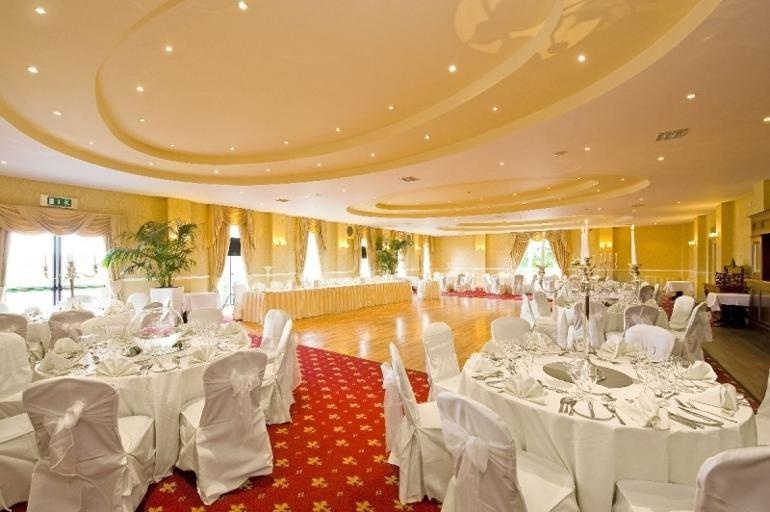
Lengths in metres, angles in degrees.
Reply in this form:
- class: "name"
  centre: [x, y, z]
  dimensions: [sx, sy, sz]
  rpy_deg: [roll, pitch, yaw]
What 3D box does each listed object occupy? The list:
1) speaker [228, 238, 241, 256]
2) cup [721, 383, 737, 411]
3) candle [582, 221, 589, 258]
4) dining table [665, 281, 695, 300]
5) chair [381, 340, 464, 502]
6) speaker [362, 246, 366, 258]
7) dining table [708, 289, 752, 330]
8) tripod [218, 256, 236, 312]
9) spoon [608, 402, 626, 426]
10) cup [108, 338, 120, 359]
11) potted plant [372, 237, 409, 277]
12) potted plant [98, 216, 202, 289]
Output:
- class: "speaker"
  centre: [-4.587, -0.279, 14.550]
  dimensions: [0.336, 0.604, 0.246]
  rpy_deg: [0, -1, -11]
- class: "cup"
  centre: [3.431, 1.438, 4.850]
  dimensions: [0.188, 0.248, 0.098]
  rpy_deg: [9, -21, -5]
- class: "candle"
  centre: [2.252, -0.164, 5.361]
  dimensions: [0.063, 0.429, 0.253]
  rpy_deg: [0, -1, 26]
- class: "dining table"
  centre: [9.904, 1.160, 16.053]
  dimensions: [0.626, 0.464, 0.546]
  rpy_deg: [2, -1, -37]
- class: "chair"
  centre: [0.292, 1.905, 6.064]
  dimensions: [1.309, 2.006, 1.316]
  rpy_deg: [-3, 5, 9]
- class: "speaker"
  centre: [-0.856, -0.155, 19.767]
  dimensions: [0.128, 0.499, 0.344]
  rpy_deg: [0, -1, 23]
- class: "dining table"
  centre: [8.036, 1.246, 11.216]
  dimensions: [0.823, 0.781, 0.874]
  rpy_deg: [-1, -2, 35]
- class: "tripod"
  centre: [-4.780, 0.810, 14.446]
  dimensions: [0.349, 1.633, 0.786]
  rpy_deg: [0, -1, 0]
- class: "spoon"
  centre: [2.295, 1.579, 4.734]
  dimensions: [0.047, 0.047, 0.294]
  rpy_deg: [-20, 12, 14]
- class: "cup"
  centre: [-3.252, 1.131, 5.822]
  dimensions: [0.152, 0.211, 0.201]
  rpy_deg: [3, -9, -27]
- class: "potted plant"
  centre: [0.203, -0.032, 19.984]
  dimensions: [1.193, 1.691, 1.451]
  rpy_deg: [-7, 22, -11]
- class: "potted plant"
  centre: [-5.660, -0.068, 11.629]
  dimensions: [1.687, 1.282, 1.781]
  rpy_deg: [-11, -13, 17]
